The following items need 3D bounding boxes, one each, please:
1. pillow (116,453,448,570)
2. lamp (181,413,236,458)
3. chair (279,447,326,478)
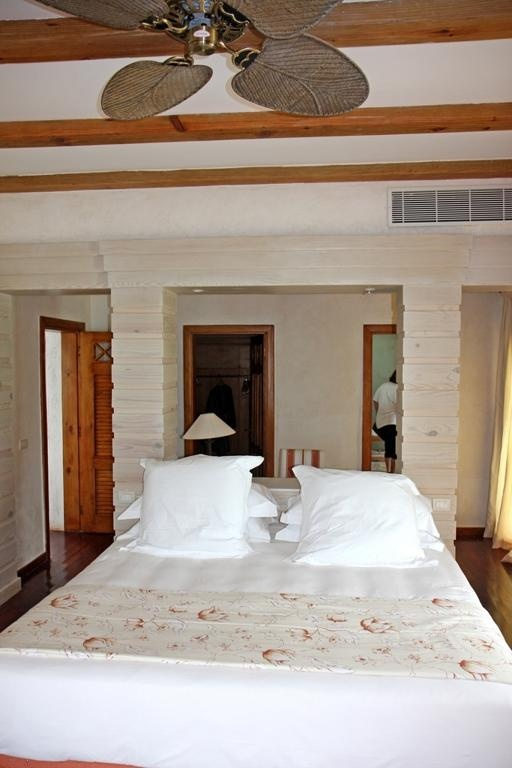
[{"bbox_3d":[0.114,0.602,2.981,0.943,0.256,0.674,2,3,4],"label":"pillow"},{"bbox_3d":[-0.307,0.357,4.130,0.363,0.316,0.347,-5,9,-10],"label":"lamp"},{"bbox_3d":[0.288,0.492,4.208,0.337,0.209,0.174,0,-5,6],"label":"chair"}]
